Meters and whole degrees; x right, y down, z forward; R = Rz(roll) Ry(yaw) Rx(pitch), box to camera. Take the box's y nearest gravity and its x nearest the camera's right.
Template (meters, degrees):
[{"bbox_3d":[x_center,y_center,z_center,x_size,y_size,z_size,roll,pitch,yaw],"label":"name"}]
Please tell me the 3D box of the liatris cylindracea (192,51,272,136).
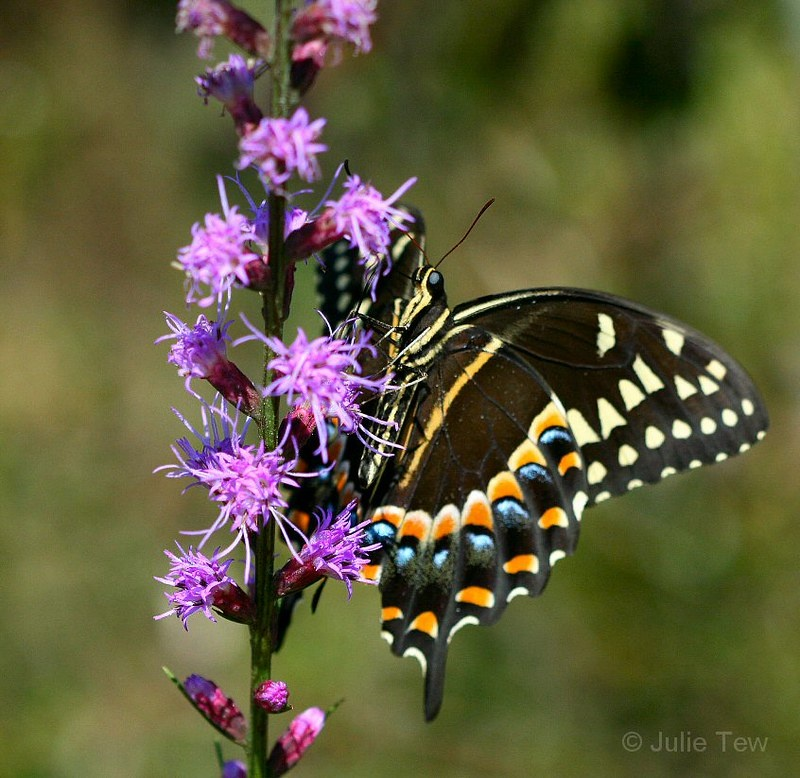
[{"bbox_3d":[-0.671,-1.192,4.611,0.225,0.183,0.283,-28,-66,0],"label":"liatris cylindracea"}]
